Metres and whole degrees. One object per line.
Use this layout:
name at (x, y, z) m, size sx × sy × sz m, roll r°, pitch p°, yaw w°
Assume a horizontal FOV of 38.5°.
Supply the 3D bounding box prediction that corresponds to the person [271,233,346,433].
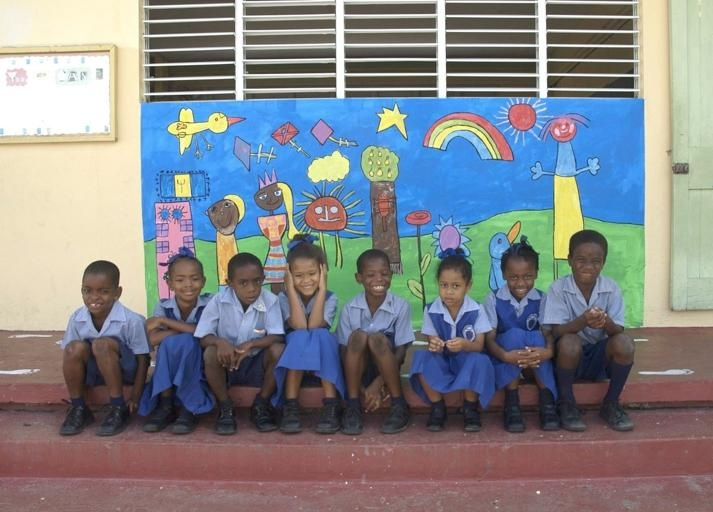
person at (-0.387, 0.613, 8.208) m, size 0.575 × 1.540 × 0.640 m, roll -1°, pitch 5°, yaw -2°

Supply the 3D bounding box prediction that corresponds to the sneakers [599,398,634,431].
sneakers at (2.026, 1.283, 7.999) m, size 0.130 × 0.147 × 0.324 m, roll -3°, pitch 0°, yaw -10°

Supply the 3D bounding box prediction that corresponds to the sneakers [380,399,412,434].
sneakers at (0.313, 1.262, 8.060) m, size 0.174 × 0.263 × 0.257 m, roll 1°, pitch 5°, yaw 17°

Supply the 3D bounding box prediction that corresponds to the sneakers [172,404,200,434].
sneakers at (-1.335, 1.305, 8.071) m, size 0.262 × 0.193 × 0.185 m, roll -4°, pitch 6°, yaw -29°

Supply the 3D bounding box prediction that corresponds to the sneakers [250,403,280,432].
sneakers at (-0.710, 1.292, 8.059) m, size 0.135 × 0.114 × 0.283 m, roll -1°, pitch 1°, yaw -29°

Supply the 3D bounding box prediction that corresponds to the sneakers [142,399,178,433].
sneakers at (-1.547, 1.262, 8.089) m, size 0.151 × 0.258 × 0.257 m, roll 2°, pitch 6°, yaw 31°

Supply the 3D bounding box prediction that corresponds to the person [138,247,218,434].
person at (-1.446, 0.669, 8.199) m, size 0.600 × 1.436 × 0.594 m, roll -2°, pitch 5°, yaw -9°

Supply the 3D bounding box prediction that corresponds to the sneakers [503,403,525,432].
sneakers at (1.236, 1.286, 8.017) m, size 0.150 × 0.194 × 0.141 m, roll -1°, pitch 5°, yaw 3°

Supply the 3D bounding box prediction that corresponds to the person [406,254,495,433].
person at (0.760, 0.845, 8.122) m, size 0.664 × 1.058 × 0.380 m, roll 0°, pitch 5°, yaw 4°

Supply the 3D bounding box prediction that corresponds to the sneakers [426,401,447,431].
sneakers at (0.633, 1.267, 8.096) m, size 0.144 × 0.225 × 0.240 m, roll 0°, pitch 5°, yaw 13°

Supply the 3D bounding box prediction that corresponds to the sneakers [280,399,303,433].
sneakers at (-0.513, 1.271, 8.043) m, size 0.164 × 0.257 × 0.157 m, roll -1°, pitch 5°, yaw -4°

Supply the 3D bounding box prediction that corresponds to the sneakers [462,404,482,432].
sneakers at (0.911, 1.275, 8.039) m, size 0.147 × 0.219 × 0.159 m, roll 0°, pitch 5°, yaw 6°

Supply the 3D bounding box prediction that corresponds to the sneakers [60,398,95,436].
sneakers at (-2.211, 1.279, 8.101) m, size 0.237 × 0.258 × 0.239 m, roll -1°, pitch 5°, yaw -4°
